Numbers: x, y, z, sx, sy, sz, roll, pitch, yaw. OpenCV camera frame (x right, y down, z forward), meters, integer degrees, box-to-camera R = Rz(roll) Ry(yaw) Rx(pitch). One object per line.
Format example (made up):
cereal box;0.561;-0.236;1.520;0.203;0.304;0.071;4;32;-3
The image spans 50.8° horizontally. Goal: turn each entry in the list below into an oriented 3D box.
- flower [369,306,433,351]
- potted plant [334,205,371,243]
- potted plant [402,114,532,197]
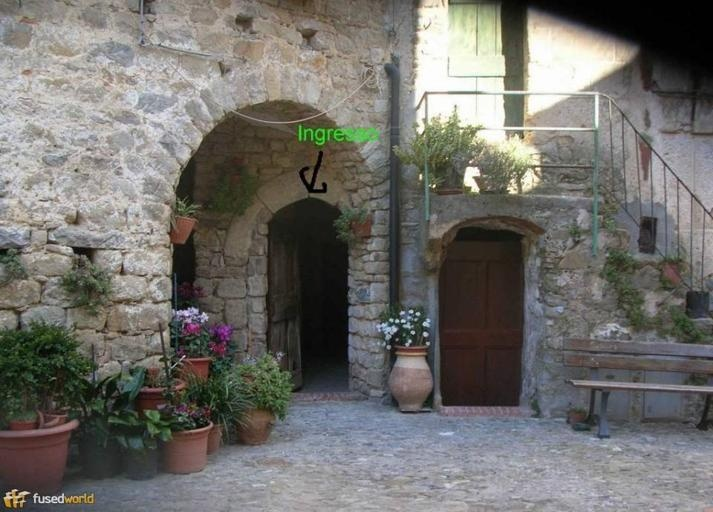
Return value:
flower;0.549;0.801;8.973;0.616;0.407;0.519;-2;5;-5
potted plant;-0.048;-0.351;9.284;0.481;0.470;0.255;6;9;39
potted plant;1.249;-1.127;8.685;1.141;0.615;1.112;-2;7;-34
